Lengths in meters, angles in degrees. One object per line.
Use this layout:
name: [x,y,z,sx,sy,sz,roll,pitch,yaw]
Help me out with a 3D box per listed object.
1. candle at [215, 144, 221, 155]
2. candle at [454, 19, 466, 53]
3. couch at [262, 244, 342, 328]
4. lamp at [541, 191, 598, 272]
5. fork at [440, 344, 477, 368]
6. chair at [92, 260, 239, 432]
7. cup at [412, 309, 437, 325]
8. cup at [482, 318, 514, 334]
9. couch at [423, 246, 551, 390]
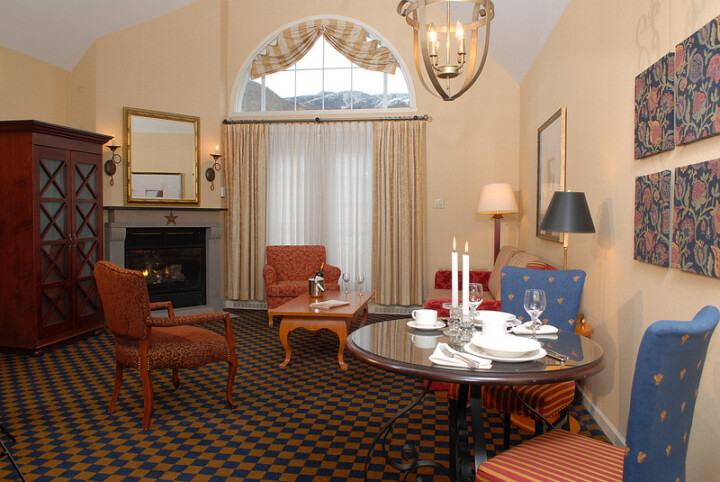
candle: [-2.224,-1.426,7.962,0.076,0.118,0.192,-3,12,-15]
candle: [0.803,-1.594,4.052,0.055,0.234,0.218,2,11,13]
couch: [-0.903,0.654,7.746,1.048,1.092,1.037,0,-4,-7]
lamp: [1.814,-0.204,4.400,0.380,0.737,0.402,0,4,30]
fork: [0.617,0.707,3.164,0.068,0.061,0.393,-4,7,-11]
chair: [-1.899,0.898,4.912,1.154,1.443,1.046,-1,3,-40]
cup: [0.474,0.542,3.714,0.133,0.093,0.105,0,-3,7]
cup: [0.905,0.548,3.398,0.151,0.064,0.104,-1,-1,10]
couch: [1.381,0.868,6.198,1.276,1.642,2.347,2,6,10]
